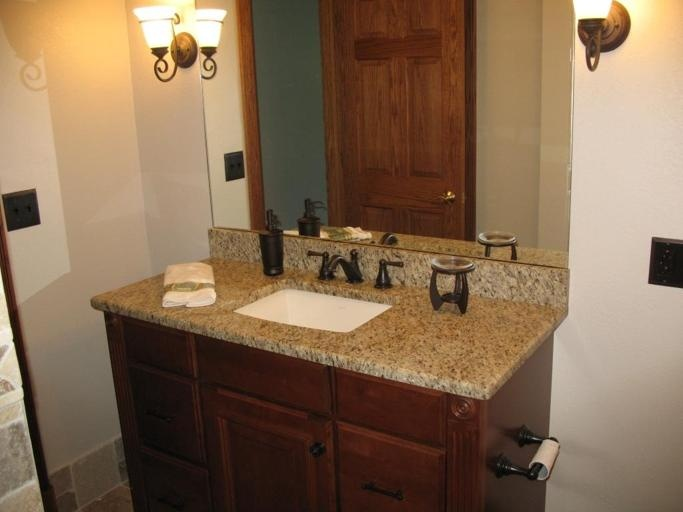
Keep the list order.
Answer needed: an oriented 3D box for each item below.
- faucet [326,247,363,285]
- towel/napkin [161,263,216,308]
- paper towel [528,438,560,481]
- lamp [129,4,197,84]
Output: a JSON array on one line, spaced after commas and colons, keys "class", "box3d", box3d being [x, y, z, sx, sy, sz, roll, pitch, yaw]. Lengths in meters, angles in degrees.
[{"class": "faucet", "box3d": [0.011, 0.049, 2.033, 0.189, 0.134, 0.065, -4, 11, -31]}, {"class": "towel/napkin", "box3d": [-0.567, 0.105, 2.046, 0.183, 0.064, 0.279, -5, 28, -14]}, {"class": "paper towel", "box3d": [0.576, 0.592, 1.593, 0.059, 0.059, 0.158, -6, 7, 20]}, {"class": "lamp", "box3d": [-0.766, -0.893, 2.271, 0.286, 0.316, 0.202, 9, 17, 36]}]
